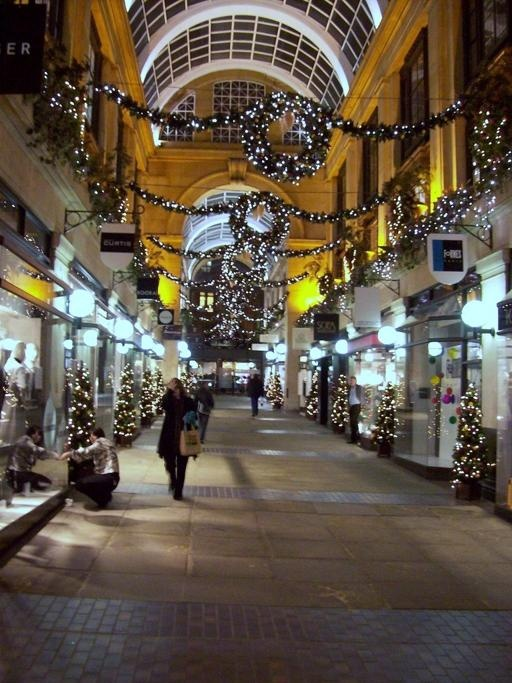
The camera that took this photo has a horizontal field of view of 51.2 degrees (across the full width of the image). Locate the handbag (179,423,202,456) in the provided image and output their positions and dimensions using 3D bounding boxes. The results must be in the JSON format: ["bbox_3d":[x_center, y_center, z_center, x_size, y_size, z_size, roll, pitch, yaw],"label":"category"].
[{"bbox_3d":[-1.024,1.558,8.296,0.366,0.450,0.205,6,-7,-31],"label":"handbag"}]

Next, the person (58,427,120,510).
[{"bbox_3d":[-2.351,1.799,7.665,0.707,1.075,0.652,4,-7,-19],"label":"person"}]
